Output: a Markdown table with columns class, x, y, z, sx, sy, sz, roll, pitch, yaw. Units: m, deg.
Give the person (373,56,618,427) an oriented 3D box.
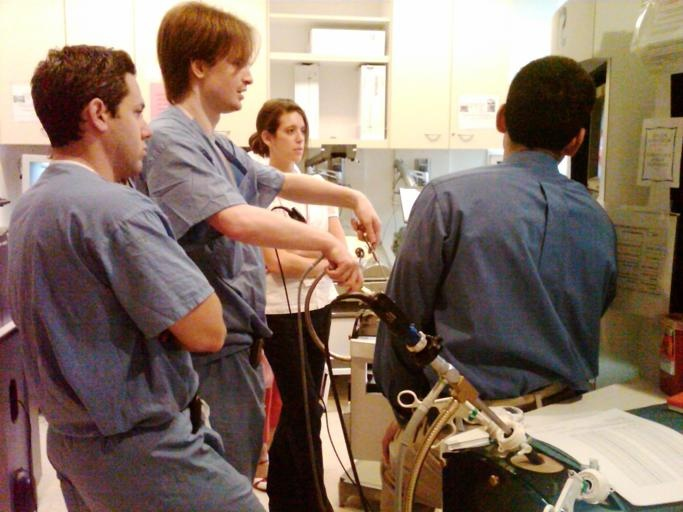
| class | x | y | z | sx | sy | sz | roll | pitch | yaw |
| --- | --- | --- | --- | --- | --- | --- | --- | --- | --- |
| person | 0.492 | -0.074 | 1.702 | 0.685 | 0.934 | 0.312 | -5 | 11 | -18 |
